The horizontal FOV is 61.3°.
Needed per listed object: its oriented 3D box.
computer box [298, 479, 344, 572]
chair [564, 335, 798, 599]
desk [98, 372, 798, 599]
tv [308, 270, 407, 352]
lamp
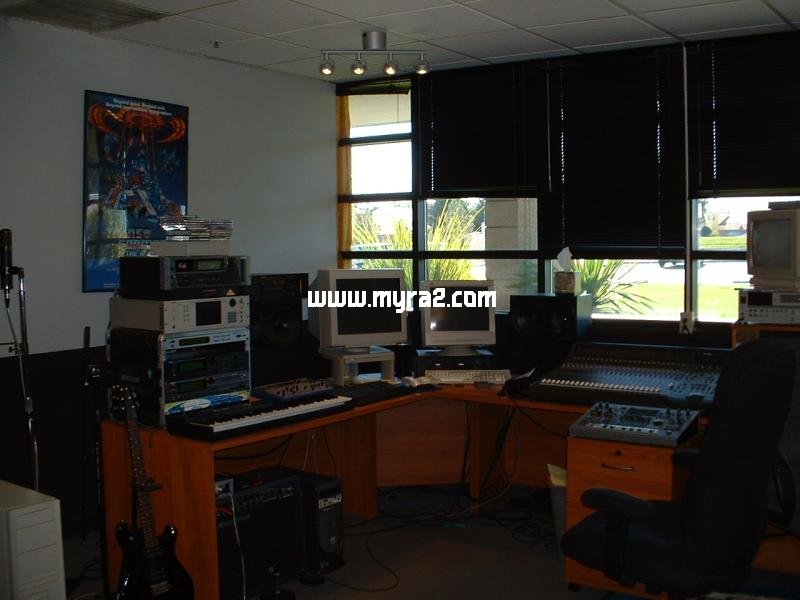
[{"bbox_3d":[-0.440,1.260,3.828,0.230,0.502,0.264,-3,7,-8],"label":"computer box"},{"bbox_3d":[1.217,0.614,3.077,1.005,1.176,0.991,3,4,44],"label":"chair"},{"bbox_3d":[0.290,0.952,4.166,1.815,0.723,1.816,-3,-3,40],"label":"desk"},{"bbox_3d":[-0.281,0.035,4.556,0.684,0.569,0.476,0,-2,-27],"label":"tv"},{"bbox_3d":[-0.178,-1.500,4.267,0.714,0.252,0.810,-1,7,2],"label":"lamp"}]
